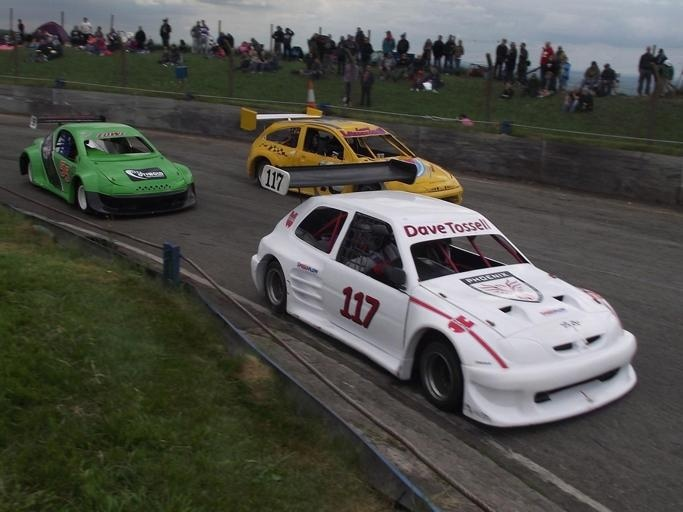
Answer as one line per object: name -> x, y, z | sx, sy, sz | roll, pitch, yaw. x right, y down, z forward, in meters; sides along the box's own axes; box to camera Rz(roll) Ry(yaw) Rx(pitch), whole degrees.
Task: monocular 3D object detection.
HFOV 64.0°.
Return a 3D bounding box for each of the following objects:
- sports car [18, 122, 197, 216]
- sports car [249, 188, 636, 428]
sports car -> -5.288, -1.856, 11.761 | 3.703, 0.934, 2.246 | 20, 28, 37
sports car -> 0.719, 0.385, 6.310 | 2.341, 1.101, 4.334 | -19, 29, -40
